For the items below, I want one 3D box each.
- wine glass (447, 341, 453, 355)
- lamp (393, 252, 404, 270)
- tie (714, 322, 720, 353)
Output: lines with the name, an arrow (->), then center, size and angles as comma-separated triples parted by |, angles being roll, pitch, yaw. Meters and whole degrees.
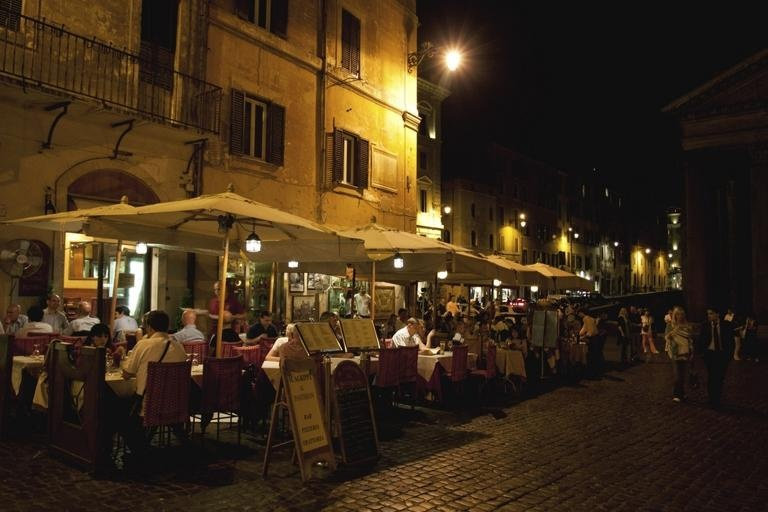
wine glass -> 1.672, 2.300, 17.757 | 0.151, 0.216, 0.069 | 4, -5, 12
lamp -> 0.387, 0.145, 18.303 | 0.322, 0.589, 0.351 | -1, 1, 10
tie -> 8.376, 2.031, 17.478 | 0.159, 0.620, 0.256 | 2, 7, 10
